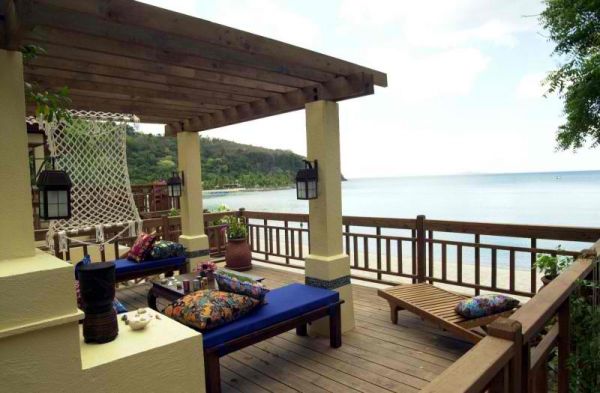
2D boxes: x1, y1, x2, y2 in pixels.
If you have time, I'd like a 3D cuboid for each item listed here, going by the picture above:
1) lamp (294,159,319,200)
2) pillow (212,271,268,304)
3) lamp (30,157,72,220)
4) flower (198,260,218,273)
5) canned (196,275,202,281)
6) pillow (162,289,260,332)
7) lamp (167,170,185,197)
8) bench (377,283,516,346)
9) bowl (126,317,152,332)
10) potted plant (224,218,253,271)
[{"bbox_3d":[0.080,-0.208,5.441,0.256,0.557,0.339,3,13,31],"label":"lamp"},{"bbox_3d":[-0.651,0.995,4.675,0.463,0.131,0.396,13,6,-9],"label":"pillow"},{"bbox_3d":[-2.276,-0.060,3.864,0.299,0.617,0.368,-10,12,-30],"label":"lamp"},{"bbox_3d":[-1.345,1.009,6.067,0.325,0.170,0.327,1,-3,-5],"label":"flower"},{"bbox_3d":[-1.349,1.097,5.596,0.053,0.053,0.052,-3,6,-41],"label":"canned"},{"bbox_3d":[-1.007,1.209,4.680,1.101,0.247,1.085,-6,6,-19],"label":"pillow"},{"bbox_3d":[-2.295,-0.248,7.658,0.321,0.430,0.317,-4,3,-22],"label":"lamp"},{"bbox_3d":[1.694,1.421,5.298,0.743,0.355,1.597,-5,9,-26],"label":"bench"},{"bbox_3d":[-1.451,1.145,3.748,0.133,0.059,0.134,0,-4,0],"label":"bowl"},{"bbox_3d":[-1.194,0.959,7.961,0.493,0.963,0.482,-7,11,-17],"label":"potted plant"}]
